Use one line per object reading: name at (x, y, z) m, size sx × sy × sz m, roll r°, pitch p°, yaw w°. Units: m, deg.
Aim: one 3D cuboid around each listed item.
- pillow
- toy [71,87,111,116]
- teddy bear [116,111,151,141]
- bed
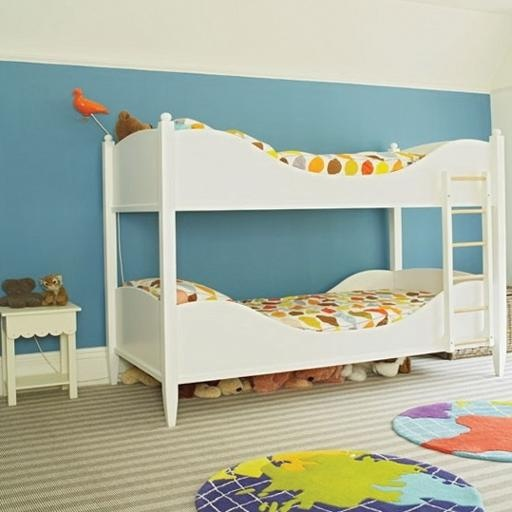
pillow at (-0.491, 0.194, 3.292) m, size 0.725 × 0.120 × 0.371 m, roll 2°, pitch 5°, yaw 42°
toy at (-1.048, -0.960, 3.449) m, size 0.269 × 0.188 × 0.144 m, roll 6°, pitch 18°, yaw -2°
teddy bear at (-0.782, -0.797, 3.383) m, size 0.235 × 0.145 × 0.258 m, roll -1°, pitch 4°, yaw 10°
bed at (0.255, 0.119, 3.592) m, size 2.354 × 1.458 × 0.999 m, roll -2°, pitch 0°, yaw -26°
